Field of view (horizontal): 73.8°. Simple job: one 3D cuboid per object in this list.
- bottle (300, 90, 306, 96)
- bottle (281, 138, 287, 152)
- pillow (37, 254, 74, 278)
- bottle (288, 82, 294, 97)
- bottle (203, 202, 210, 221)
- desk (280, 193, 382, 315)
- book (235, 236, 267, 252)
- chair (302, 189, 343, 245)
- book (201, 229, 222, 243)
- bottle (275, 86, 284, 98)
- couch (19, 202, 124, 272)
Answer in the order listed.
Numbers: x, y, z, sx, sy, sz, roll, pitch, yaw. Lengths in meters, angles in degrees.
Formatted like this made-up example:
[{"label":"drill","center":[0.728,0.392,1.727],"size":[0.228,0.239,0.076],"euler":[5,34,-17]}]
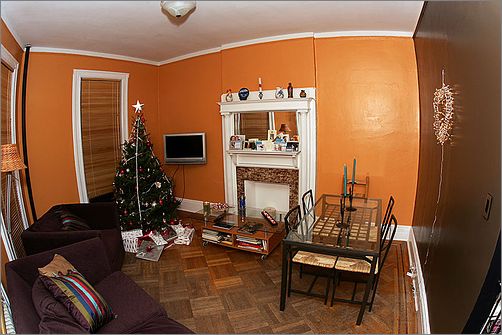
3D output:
[{"label":"bottle","center":[0.939,-1.305,5.937],"size":[0.110,0.135,0.103],"euler":[2,7,0]},{"label":"bottle","center":[0.612,-0.418,6.149],"size":[0.078,0.206,0.057],"euler":[3,7,13]},{"label":"pillow","center":[-2.150,1.095,3.679],"size":[0.229,0.070,0.222],"euler":[32,19,28]},{"label":"bottle","center":[0.714,-1.404,6.036],"size":[0.113,0.293,0.178],"euler":[2,7,5]},{"label":"bottle","center":[-0.759,0.755,5.755],"size":[0.121,0.238,0.293],"euler":[1,7,-11]},{"label":"desk","center":[0.894,1.264,4.720],"size":[0.732,1.078,0.819],"euler":[6,8,35]},{"label":"book","center":[0.015,1.206,5.497],"size":[0.341,0.119,0.268],"euler":[5,5,23]},{"label":"chair","center":[0.988,0.729,4.527],"size":[0.458,0.288,1.146],"euler":[-1,14,11]},{"label":"book","center":[-0.673,1.170,5.766],"size":[0.361,0.219,0.081],"euler":[6,8,28]},{"label":"bottle","center":[0.527,-1.363,6.090],"size":[0.153,0.229,0.188],"euler":[4,7,15]},{"label":"couch","center":[-2.495,0.901,4.900],"size":[1.038,1.014,1.023],"euler":[-6,12,-11]}]
